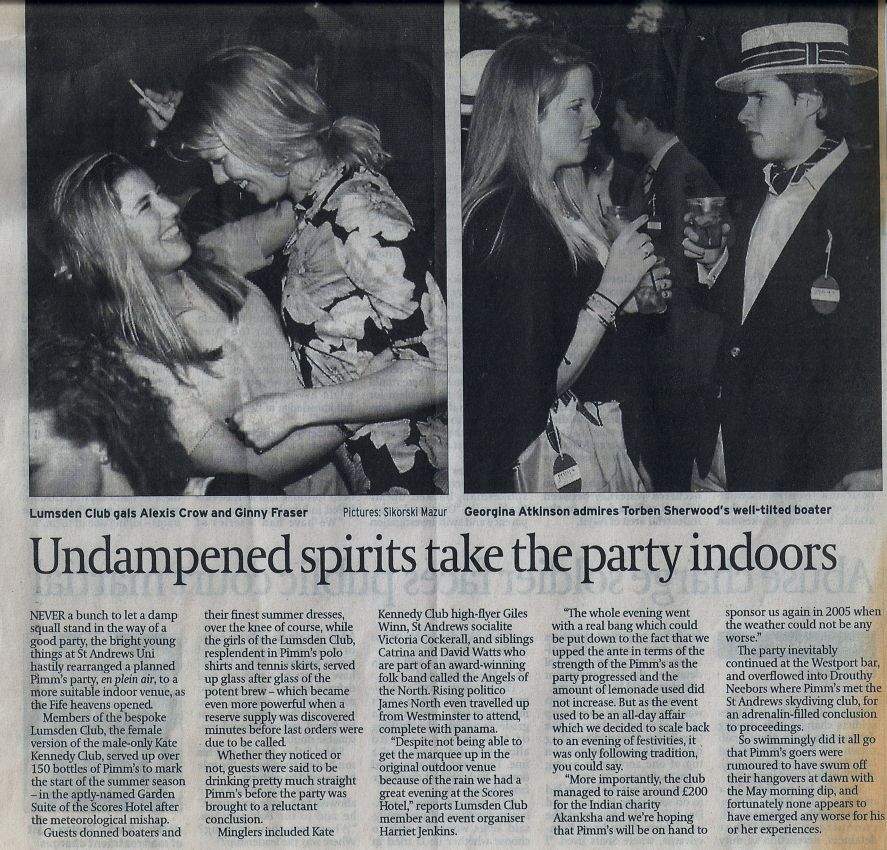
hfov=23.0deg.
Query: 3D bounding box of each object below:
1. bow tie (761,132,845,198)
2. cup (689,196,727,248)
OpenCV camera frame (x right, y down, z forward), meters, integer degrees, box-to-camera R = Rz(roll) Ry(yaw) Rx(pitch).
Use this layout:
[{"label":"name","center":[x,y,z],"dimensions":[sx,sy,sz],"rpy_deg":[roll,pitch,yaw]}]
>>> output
[{"label":"bow tie","center":[0.745,-0.543,4.503],"dimensions":[0.137,0.066,0.114],"rpy_deg":[-33,5,-2]},{"label":"cup","center":[0.547,-0.421,4.559],"dimensions":[0.097,0.125,0.091],"rpy_deg":[-1,-4,0]}]
